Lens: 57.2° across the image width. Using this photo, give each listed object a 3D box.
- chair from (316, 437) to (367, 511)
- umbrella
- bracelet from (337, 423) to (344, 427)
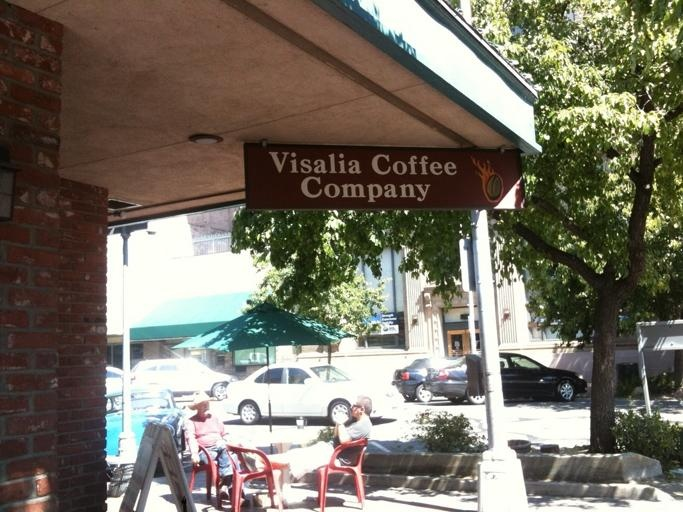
[{"bbox_3d":[0.029,3.250,9.390,0.936,1.353,1.041,3,-16,-1],"label":"chair"},{"bbox_3d":[-1.304,1.914,11.038,1.943,1.450,2.000,-9,-6,9],"label":"umbrella"},{"bbox_3d":[-0.028,2.454,9.104,0.074,0.036,0.107,2,-8,-7],"label":"bracelet"}]
